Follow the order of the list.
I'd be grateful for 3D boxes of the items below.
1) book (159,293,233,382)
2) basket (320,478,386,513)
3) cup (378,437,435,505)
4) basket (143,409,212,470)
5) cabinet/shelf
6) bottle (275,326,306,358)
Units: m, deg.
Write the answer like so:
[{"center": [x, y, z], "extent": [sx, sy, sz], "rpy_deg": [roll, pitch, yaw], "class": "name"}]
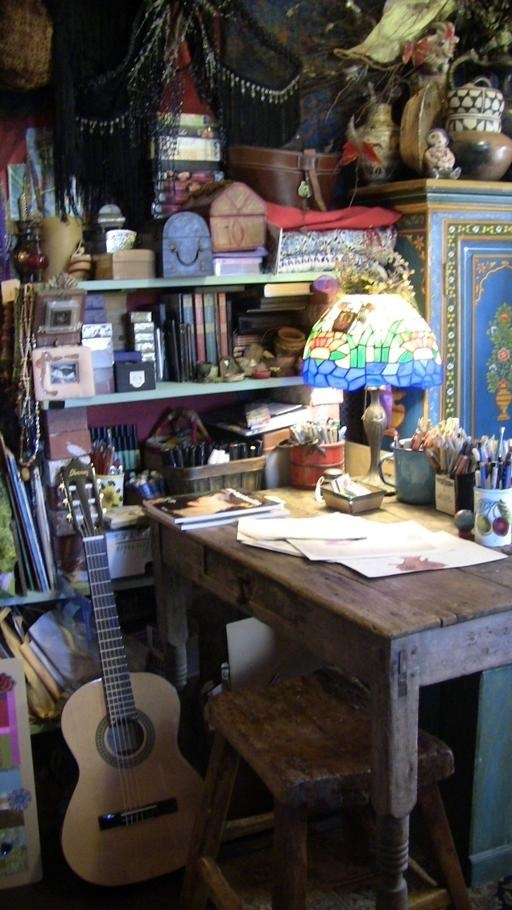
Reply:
[{"center": [-0.221, -0.363, 2.248], "extent": [0.250, 0.407, 0.269], "rpy_deg": [-3, 3, -12], "class": "book"}, {"center": [0.254, 0.094, 1.720], "extent": [0.123, 0.052, 0.088], "rpy_deg": [-3, 9, -40], "class": "basket"}, {"center": [0.432, 0.044, 1.866], "extent": [0.156, 0.170, 0.115], "rpy_deg": [2, 6, 37], "class": "cup"}, {"center": [-0.292, -0.067, 2.252], "extent": [0.224, 0.233, 0.209], "rpy_deg": [-2, 5, -42], "class": "basket"}, {"center": [-0.163, 0.146, 2.458], "extent": [0.991, 1.402, 1.373], "rpy_deg": [-2, 6, -29], "class": "cabinet/shelf"}, {"center": [0.112, -0.380, 2.215], "extent": [0.093, 0.100, 0.094], "rpy_deg": [-17, 45, -31], "class": "bottle"}]
